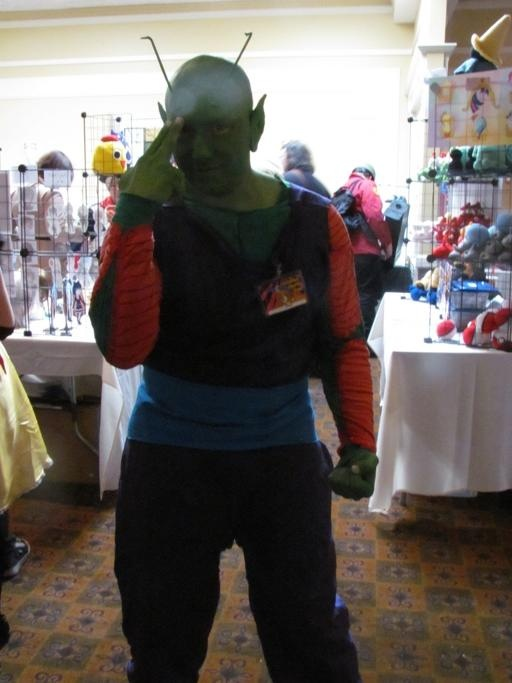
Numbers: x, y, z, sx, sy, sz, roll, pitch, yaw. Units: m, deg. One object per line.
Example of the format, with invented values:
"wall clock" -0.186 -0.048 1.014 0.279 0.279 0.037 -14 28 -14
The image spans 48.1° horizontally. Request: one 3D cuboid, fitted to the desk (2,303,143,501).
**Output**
"desk" -0.699 0.221 2.666 0.783 0.560 0.774 2 2 2
